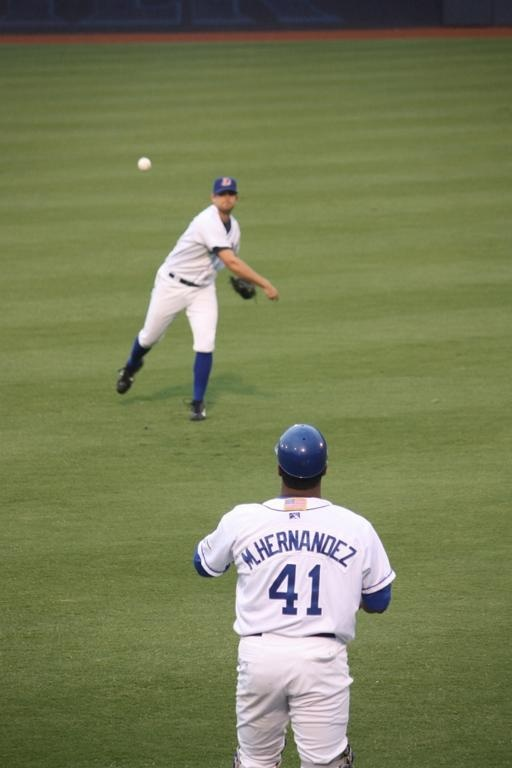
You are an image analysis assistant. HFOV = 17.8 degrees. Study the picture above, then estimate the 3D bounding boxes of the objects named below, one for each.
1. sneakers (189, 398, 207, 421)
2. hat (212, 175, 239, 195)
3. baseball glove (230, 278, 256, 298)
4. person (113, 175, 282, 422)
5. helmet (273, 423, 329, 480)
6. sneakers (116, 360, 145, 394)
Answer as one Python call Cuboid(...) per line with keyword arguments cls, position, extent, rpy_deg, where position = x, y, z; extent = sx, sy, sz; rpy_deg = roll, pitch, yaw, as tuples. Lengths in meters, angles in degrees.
Cuboid(cls="sneakers", position=(-0.400, 0.152, 11.656), extent=(0.111, 0.149, 0.238), rpy_deg=(-1, 20, -2))
Cuboid(cls="hat", position=(-0.207, -1.402, 11.386), extent=(0.116, 0.094, 0.176), rpy_deg=(0, 5, -6))
Cuboid(cls="baseball glove", position=(-0.071, -0.740, 11.906), extent=(0.185, 0.123, 0.068), rpy_deg=(28, 52, 9))
Cuboid(cls="person", position=(-0.445, -0.659, 11.634), extent=(1.162, 1.686, 0.675), rpy_deg=(5, 20, 15))
Cuboid(cls="helmet", position=(0.235, 0.292, 8.203), extent=(0.250, 0.202, 0.387), rpy_deg=(-2, 23, -1))
Cuboid(cls="sneakers", position=(-0.928, -0.022, 12.016), extent=(0.109, 0.356, 0.145), rpy_deg=(20, -14, 5))
